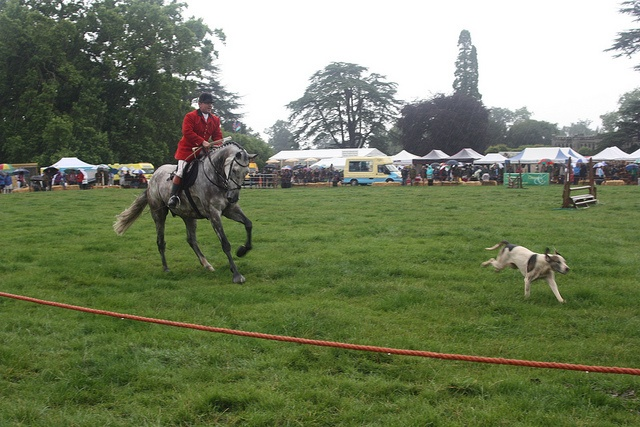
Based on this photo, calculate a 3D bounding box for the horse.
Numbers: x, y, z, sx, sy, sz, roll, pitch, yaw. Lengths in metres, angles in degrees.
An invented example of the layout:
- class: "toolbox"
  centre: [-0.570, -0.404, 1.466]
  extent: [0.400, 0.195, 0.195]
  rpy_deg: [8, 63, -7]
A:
- class: "horse"
  centre: [-2.944, -0.119, 14.131]
  extent: [3.486, 3.156, 1.108]
  rpy_deg: [4, 3, 41]

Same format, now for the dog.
- class: "dog"
  centre: [4.308, 1.114, 12.554]
  extent: [0.677, 0.979, 2.515]
  rpy_deg: [-3, 9, -19]

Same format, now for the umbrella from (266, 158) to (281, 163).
- class: "umbrella"
  centre: [-5.121, -5.811, 65.190]
  extent: [1.146, 0.541, 1.536]
  rpy_deg: [2, 3, 17]

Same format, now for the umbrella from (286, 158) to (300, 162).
- class: "umbrella"
  centre: [-3.001, -5.774, 64.394]
  extent: [1.525, 0.410, 0.353]
  rpy_deg: [3, 3, 35]

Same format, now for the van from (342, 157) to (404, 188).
- class: "van"
  centre: [4.174, -3.466, 49.034]
  extent: [4.619, 2.291, 1.144]
  rpy_deg: [2, 3, 22]

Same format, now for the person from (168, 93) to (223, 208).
- class: "person"
  centre: [-3.029, -1.405, 14.208]
  extent: [1.263, 2.609, 1.489]
  rpy_deg: [6, -2, -13]
